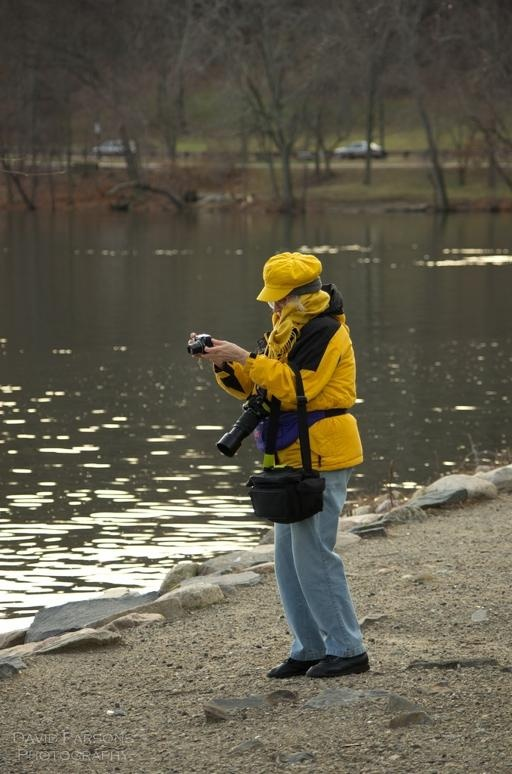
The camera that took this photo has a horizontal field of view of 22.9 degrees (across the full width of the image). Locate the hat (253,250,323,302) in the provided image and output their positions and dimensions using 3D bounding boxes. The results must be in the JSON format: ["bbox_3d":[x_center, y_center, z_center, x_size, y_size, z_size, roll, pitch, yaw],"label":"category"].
[{"bbox_3d":[0.120,-0.389,4.343,0.249,0.119,0.183,-31,33,-33],"label":"hat"}]

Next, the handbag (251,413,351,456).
[{"bbox_3d":[0.147,0.145,4.378,0.228,0.097,0.162,-9,6,0],"label":"handbag"}]

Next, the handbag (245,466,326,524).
[{"bbox_3d":[0.111,0.356,4.312,0.261,0.175,0.196,6,13,42],"label":"handbag"}]

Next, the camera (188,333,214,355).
[{"bbox_3d":[-0.195,-0.143,4.333,0.079,0.071,0.077,-4,2,-31],"label":"camera"}]

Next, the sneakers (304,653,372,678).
[{"bbox_3d":[0.298,0.988,4.475,0.234,0.105,0.080,0,-3,-9],"label":"sneakers"}]

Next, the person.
[{"bbox_3d":[0.118,0.303,4.414,0.530,1.526,0.402,-6,7,4],"label":"person"}]

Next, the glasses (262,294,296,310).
[{"bbox_3d":[0.089,-0.284,4.416,0.064,0.046,0.086,-18,16,4],"label":"glasses"}]

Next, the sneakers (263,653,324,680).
[{"bbox_3d":[0.138,1.017,4.543,0.212,0.077,0.069,-1,2,1],"label":"sneakers"}]
